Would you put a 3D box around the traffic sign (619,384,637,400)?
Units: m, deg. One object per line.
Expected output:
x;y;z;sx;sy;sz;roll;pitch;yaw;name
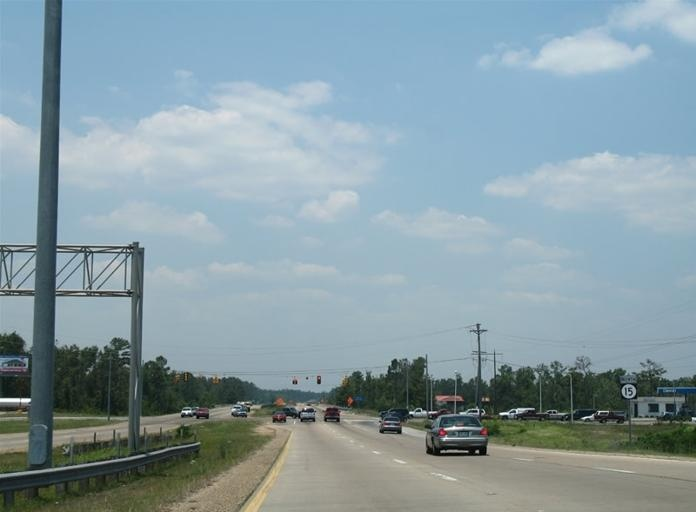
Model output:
14.482;7.056;51.540;0.742;0.826;1.559;-3;-14;14;traffic sign

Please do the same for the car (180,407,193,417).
-22.628;22.289;140.045;1.122;0.983;2.021;3;7;5;car

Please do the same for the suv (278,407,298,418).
-7.195;19.318;121.069;2.051;1.237;1.346;-2;-4;4;suv

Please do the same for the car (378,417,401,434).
3.350;13.557;79.592;1.502;1.478;2.739;1;-13;-4;car

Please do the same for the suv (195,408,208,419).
-17.920;19.567;123.333;1.378;1.101;3.105;1;-6;0;suv

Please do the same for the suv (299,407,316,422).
-4.462;17.620;110.050;1.243;1.150;2.331;1;-4;4;suv
